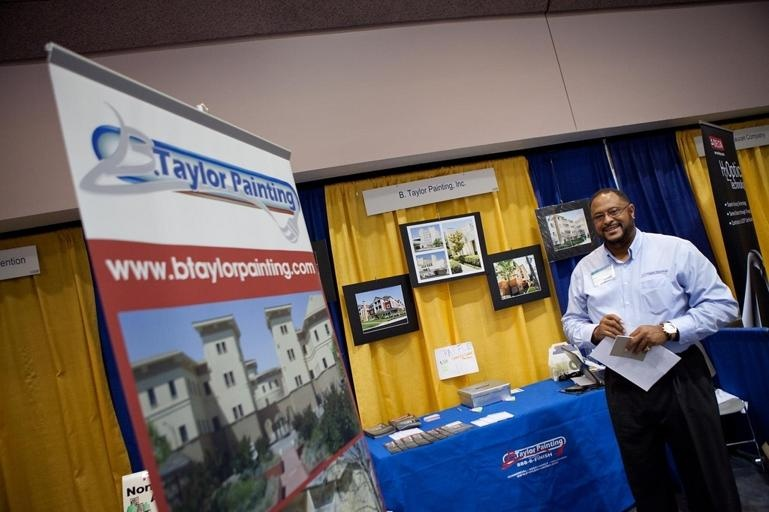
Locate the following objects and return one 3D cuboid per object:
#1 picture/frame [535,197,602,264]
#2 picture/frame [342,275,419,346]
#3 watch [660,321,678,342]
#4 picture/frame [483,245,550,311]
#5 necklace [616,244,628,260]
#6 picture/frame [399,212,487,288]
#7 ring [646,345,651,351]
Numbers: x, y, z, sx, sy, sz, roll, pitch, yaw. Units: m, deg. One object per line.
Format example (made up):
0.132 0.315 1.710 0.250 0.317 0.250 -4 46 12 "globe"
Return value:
1.722 -0.220 4.264 0.512 0.526 0.022 -14 -8 -17 "picture/frame"
-0.060 0.523 4.168 0.536 0.508 0.037 -10 -6 -5 "picture/frame"
1.687 0.453 2.681 0.079 0.099 0.034 8 -26 0 "watch"
1.261 0.232 4.406 0.524 0.478 0.020 -14 -7 -19 "picture/frame"
1.563 -0.020 2.980 0.072 0.059 0.075 0 5 19 "necklace"
0.532 -0.029 4.316 0.603 0.496 0.023 -11 -8 -9 "picture/frame"
1.556 0.551 2.676 0.022 0.033 0.008 5 -5 5 "ring"
